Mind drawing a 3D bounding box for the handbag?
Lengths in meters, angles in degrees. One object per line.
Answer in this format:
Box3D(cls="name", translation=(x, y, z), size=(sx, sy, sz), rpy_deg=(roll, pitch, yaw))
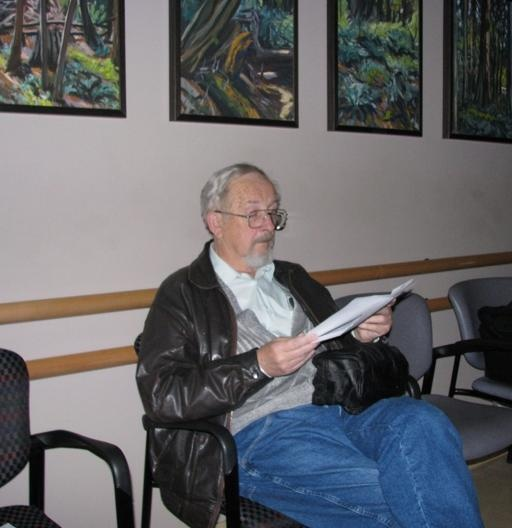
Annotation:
Box3D(cls="handbag", translation=(0.341, 0.348, 1.666), size=(0.367, 0.200, 0.207), rpy_deg=(-4, 0, -45))
